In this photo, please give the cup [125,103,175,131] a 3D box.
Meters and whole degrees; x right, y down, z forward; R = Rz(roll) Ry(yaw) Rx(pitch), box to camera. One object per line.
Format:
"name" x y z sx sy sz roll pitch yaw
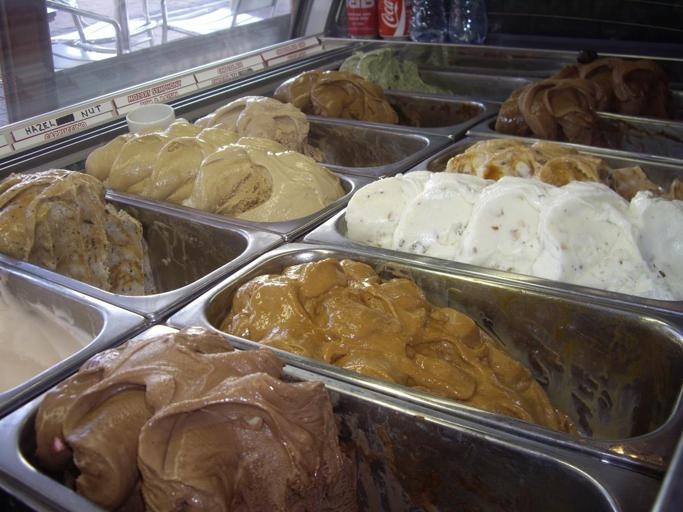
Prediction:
"cup" -0.768 -0.558 1.942 0.101 0.074 0.106 2 47 -3
